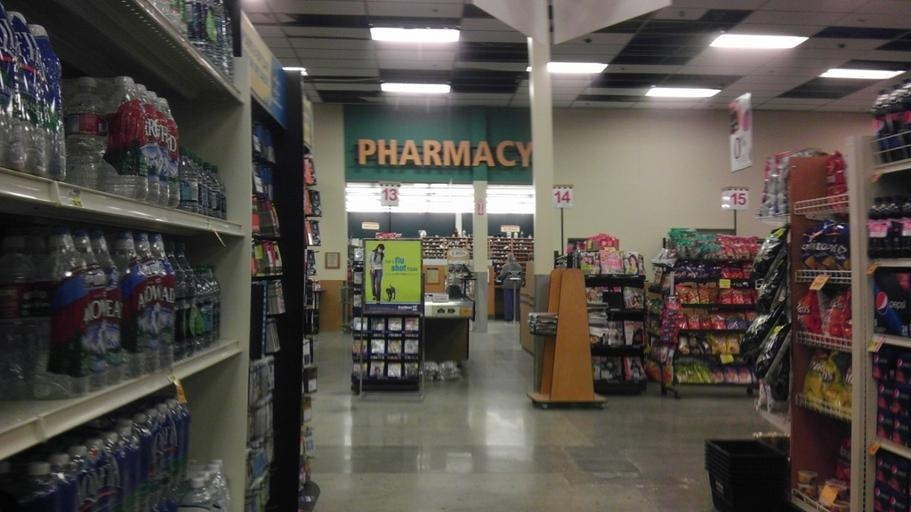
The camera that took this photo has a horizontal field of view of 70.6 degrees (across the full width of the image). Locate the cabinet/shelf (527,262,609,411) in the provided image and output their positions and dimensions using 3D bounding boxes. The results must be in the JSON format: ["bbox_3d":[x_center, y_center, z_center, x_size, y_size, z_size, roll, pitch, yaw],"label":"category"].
[{"bbox_3d":[1.341,0.990,7.756,0.861,1.661,0.494,1,6,10],"label":"cabinet/shelf"}]

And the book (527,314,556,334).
[{"bbox_3d":[1.035,0.816,7.764,0.408,0.213,0.261,2,-2,-5],"label":"book"}]

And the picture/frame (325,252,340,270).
[{"bbox_3d":[-2.538,0.070,13.330,0.399,0.398,0.045,0,6,1],"label":"picture/frame"}]

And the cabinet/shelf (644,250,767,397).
[{"bbox_3d":[3.198,0.865,8.159,1.983,1.732,1.053,0,-5,0],"label":"cabinet/shelf"}]
